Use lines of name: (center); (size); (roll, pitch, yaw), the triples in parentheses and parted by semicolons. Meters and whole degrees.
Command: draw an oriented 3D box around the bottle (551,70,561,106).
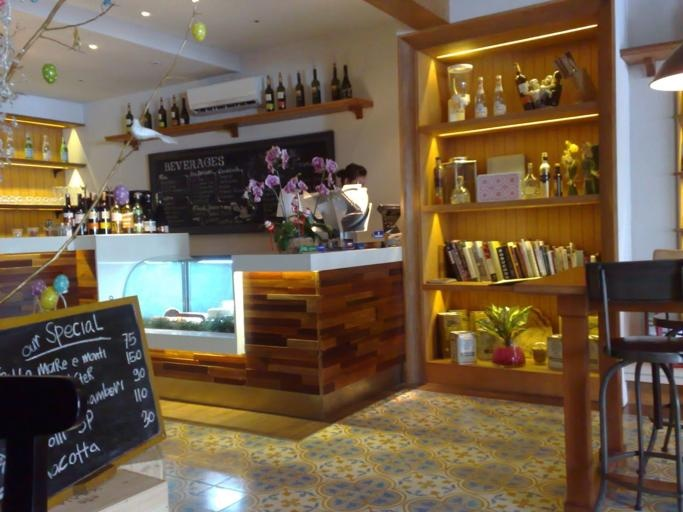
bottle: (1.752, -1.360, 4.348); (0.080, 0.277, 0.177); (-1, 3, 22)

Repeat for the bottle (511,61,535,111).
bottle: (1.549, -1.436, 4.527); (0.132, 0.467, 0.433); (-1, 3, 19)

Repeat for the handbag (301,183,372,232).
handbag: (-0.046, -0.395, 4.409); (0.471, 0.308, 0.398); (0, 5, 7)

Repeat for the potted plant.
potted plant: (1.373, 0.658, 4.563); (0.509, 0.524, 0.487); (-2, -8, 18)

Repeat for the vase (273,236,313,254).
vase: (-0.369, -0.082, 4.121); (0.312, 0.116, 0.223); (-2, 3, -2)

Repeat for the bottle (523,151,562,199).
bottle: (1.682, -0.678, 4.508); (0.283, 0.373, 0.435); (-1, 3, 19)
